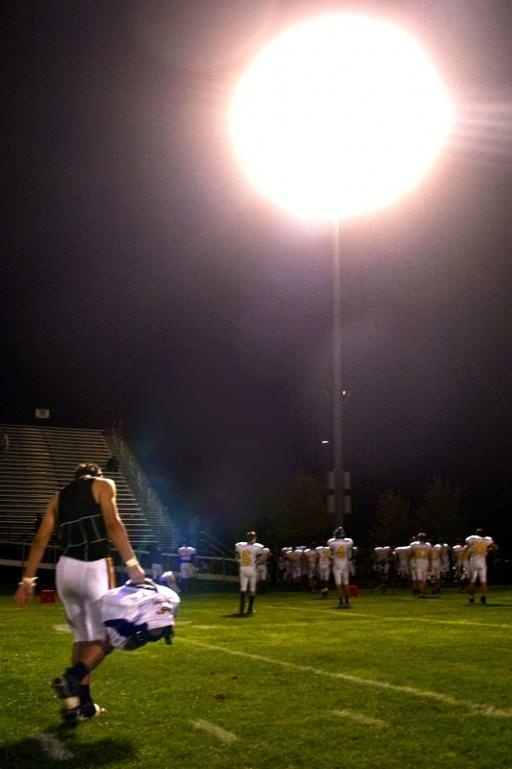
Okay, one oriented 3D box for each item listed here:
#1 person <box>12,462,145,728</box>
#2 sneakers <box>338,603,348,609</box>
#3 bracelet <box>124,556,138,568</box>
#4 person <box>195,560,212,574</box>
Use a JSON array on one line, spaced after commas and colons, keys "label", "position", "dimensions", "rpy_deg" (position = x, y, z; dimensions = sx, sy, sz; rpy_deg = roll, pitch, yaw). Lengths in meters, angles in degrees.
[{"label": "person", "position": [-0.990, 1.137, 3.895], "dimensions": [0.478, 1.421, 0.622], "rpy_deg": [10, -13, -41]}, {"label": "sneakers", "position": [1.584, 4.027, 12.756], "dimensions": [0.098, 0.048, 0.143], "rpy_deg": [1, 19, 16]}, {"label": "bracelet", "position": [-0.677, 0.979, 3.871], "dimensions": [0.076, 0.058, 0.078], "rpy_deg": [-4, -1, 4]}, {"label": "person", "position": [-1.763, 6.102, 23.435], "dimensions": [0.438, 0.393, 0.710], "rpy_deg": [3, -10, -10]}]
